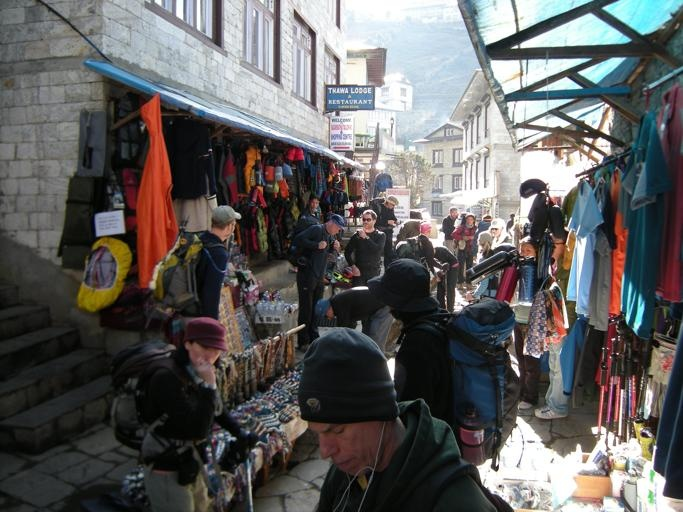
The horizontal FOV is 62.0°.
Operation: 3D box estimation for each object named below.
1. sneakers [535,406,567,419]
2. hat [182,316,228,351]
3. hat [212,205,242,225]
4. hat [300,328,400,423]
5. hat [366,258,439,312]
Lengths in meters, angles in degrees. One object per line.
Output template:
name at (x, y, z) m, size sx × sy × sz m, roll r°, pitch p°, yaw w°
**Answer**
sneakers at (2.752, 2.066, 7.500) m, size 0.378 × 0.166 × 0.159 m, roll 4°, pitch -5°, yaw 8°
hat at (-1.156, 0.666, 4.900) m, size 0.473 × 0.258 × 0.365 m, roll -2°, pitch -11°, yaw 33°
hat at (-1.327, -0.451, 6.578) m, size 0.206 × 0.183 × 0.317 m, roll 18°, pitch 30°, yaw 28°
hat at (0.026, 0.694, 3.290) m, size 0.608 × 0.541 × 0.573 m, roll 7°, pitch -15°, yaw -43°
hat at (0.539, 0.186, 4.671) m, size 0.543 × 0.309 × 0.604 m, roll -5°, pitch 22°, yaw -39°
